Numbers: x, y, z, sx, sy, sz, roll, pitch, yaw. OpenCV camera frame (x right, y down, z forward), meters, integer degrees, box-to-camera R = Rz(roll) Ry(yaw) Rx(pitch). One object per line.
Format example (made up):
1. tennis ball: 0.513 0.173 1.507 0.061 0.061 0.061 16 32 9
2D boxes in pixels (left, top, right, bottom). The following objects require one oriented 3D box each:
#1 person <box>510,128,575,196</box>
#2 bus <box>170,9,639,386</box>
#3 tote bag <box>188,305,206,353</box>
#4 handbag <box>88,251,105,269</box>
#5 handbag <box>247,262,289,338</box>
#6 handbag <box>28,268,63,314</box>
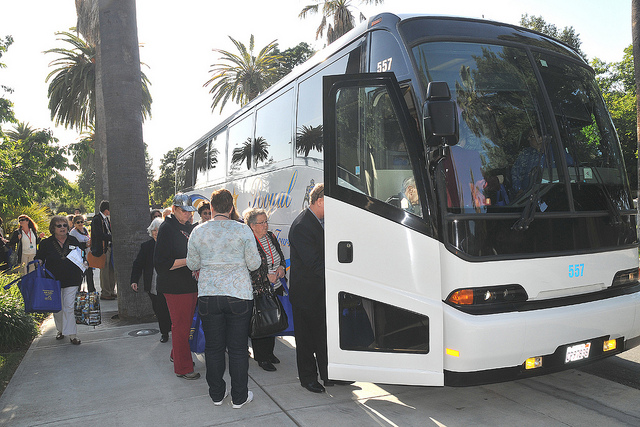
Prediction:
1. person: 2.601 -0.655 5.645 0.580 0.800 0.221 -8 10 -37
2. bus: 0.586 -0.187 8.899 4.117 3.874 8.512 1 -3 -27
3. tote bag: -1.930 1.823 6.961 0.222 0.703 0.535 -4 8 -17
4. handbag: -5.481 1.129 10.985 0.386 0.553 0.158 1 -7 -35
5. handbag: -0.807 1.179 6.531 0.558 1.234 0.313 -9 -7 -3
6. handbag: -4.957 1.368 8.049 0.331 0.916 0.599 -21 -22 18
